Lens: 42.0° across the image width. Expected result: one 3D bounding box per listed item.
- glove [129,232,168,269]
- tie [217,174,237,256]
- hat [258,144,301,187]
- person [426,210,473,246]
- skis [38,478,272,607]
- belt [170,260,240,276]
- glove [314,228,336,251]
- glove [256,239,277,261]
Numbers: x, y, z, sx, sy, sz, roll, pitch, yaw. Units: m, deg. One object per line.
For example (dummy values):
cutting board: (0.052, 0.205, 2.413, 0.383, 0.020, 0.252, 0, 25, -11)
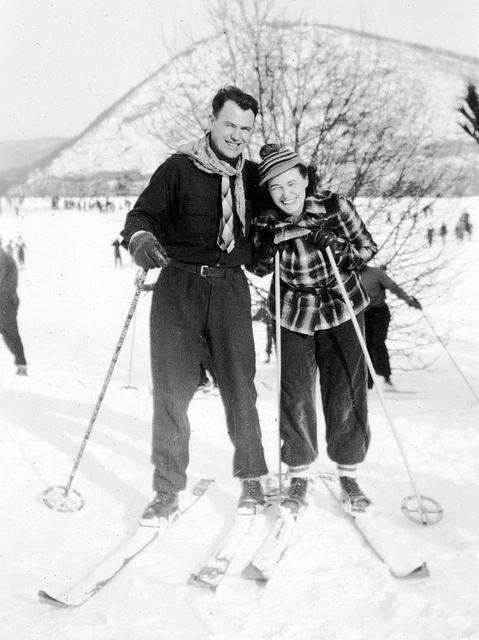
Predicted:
glove: (-0.344, -0.264, 2.410, 0.182, 0.159, 0.155, 3, 7, 33)
tie: (-0.054, -0.431, 2.547, 0.055, 0.314, 0.096, 0, 6, 14)
hat: (0.147, -0.664, 2.532, 0.180, 0.099, 0.133, -39, 5, -39)
person: (1.998, -0.892, 6.024, 0.672, 0.321, 0.130, -17, 22, -28)
skis: (-0.291, 0.782, 2.637, 0.216, 0.172, 1.363, -4, 17, 29)
belt: (-0.137, -0.212, 2.576, 0.296, 0.079, 0.071, -3, 6, -12)
glove: (0.346, -0.327, 2.529, 0.085, 0.082, 0.061, -1, 6, 8)
glove: (0.115, -0.291, 2.648, 0.103, 0.125, 0.064, 0, 6, 18)
